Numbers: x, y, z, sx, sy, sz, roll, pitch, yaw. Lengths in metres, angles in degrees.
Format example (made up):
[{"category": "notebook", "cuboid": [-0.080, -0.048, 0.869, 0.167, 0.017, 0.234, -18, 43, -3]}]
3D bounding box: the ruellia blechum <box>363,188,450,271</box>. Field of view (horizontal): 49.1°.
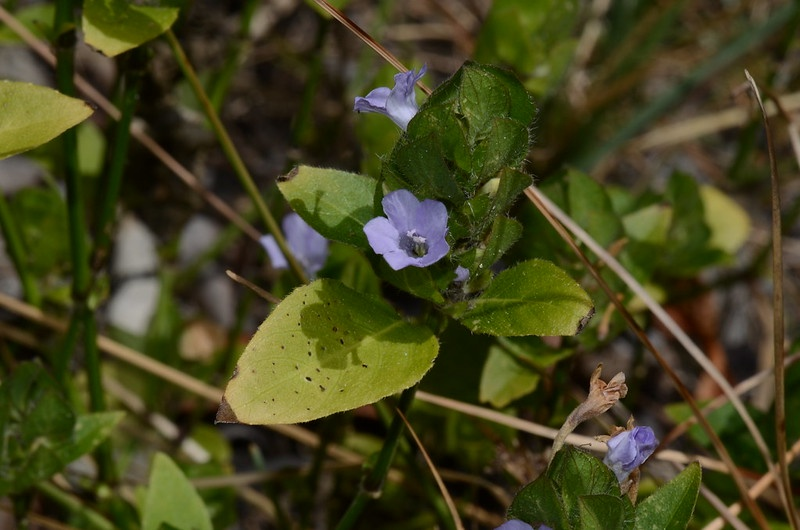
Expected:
[{"category": "ruellia blechum", "cuboid": [0.043, -0.062, 2.422, 0.229, 0.214, 0.140, 29, 39, -18]}]
